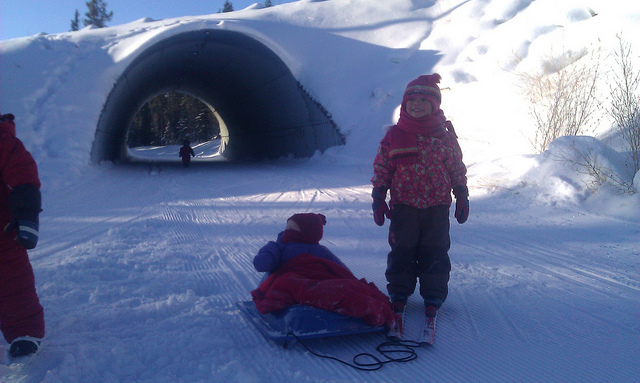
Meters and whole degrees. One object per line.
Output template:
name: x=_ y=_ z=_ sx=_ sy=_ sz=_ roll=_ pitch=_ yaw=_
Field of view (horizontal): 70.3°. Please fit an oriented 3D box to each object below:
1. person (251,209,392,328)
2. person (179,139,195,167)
person: x=-0.172 y=0.875 z=5.763 sx=1.188 sy=0.713 sz=1.598 roll=3 pitch=8 yaw=-25
person: x=-5.282 y=-1.504 z=17.970 sx=0.441 sy=1.004 sz=1.998 roll=-4 pitch=14 yaw=-15
